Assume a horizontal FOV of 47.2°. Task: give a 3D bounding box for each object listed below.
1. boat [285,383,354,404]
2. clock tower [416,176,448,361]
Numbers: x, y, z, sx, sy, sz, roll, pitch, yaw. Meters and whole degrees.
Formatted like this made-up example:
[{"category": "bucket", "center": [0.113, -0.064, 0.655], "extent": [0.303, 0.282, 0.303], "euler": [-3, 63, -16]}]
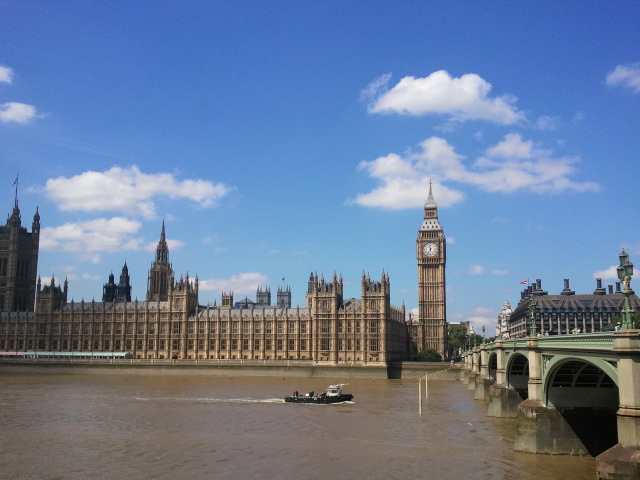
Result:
[{"category": "boat", "center": [-0.152, 22.641, 107.293], "extent": [9.117, 2.449, 4.599], "euler": [0, -11, 3]}, {"category": "clock tower", "center": [31.592, 12.125, 206.943], "extent": [7.007, 38.932, 4.997], "euler": [-3, -11, 17]}]
